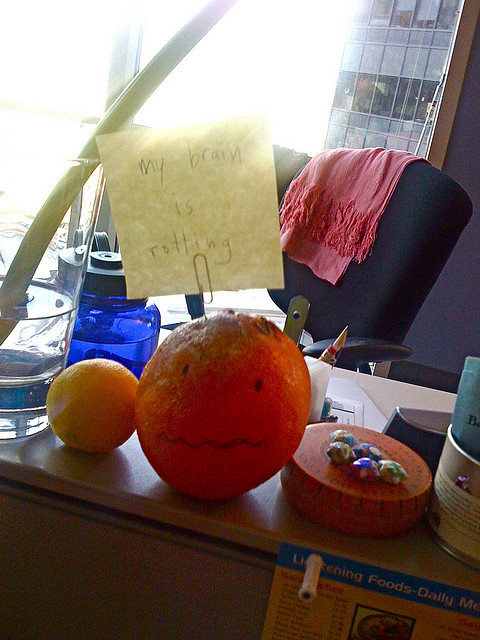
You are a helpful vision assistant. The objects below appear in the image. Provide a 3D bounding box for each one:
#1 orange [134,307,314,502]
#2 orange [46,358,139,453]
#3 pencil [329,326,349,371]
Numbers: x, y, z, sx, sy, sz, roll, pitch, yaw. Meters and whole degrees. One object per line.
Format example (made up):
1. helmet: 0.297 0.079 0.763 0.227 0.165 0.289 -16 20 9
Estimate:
1. orange: -0.005 0.044 0.302 0.090 0.126 0.101 1 -1 5
2. orange: -0.111 0.051 0.340 0.057 0.072 0.060 5 12 -4
3. pencil: 0.175 0.051 0.769 0.014 0.016 0.096 20 67 6
